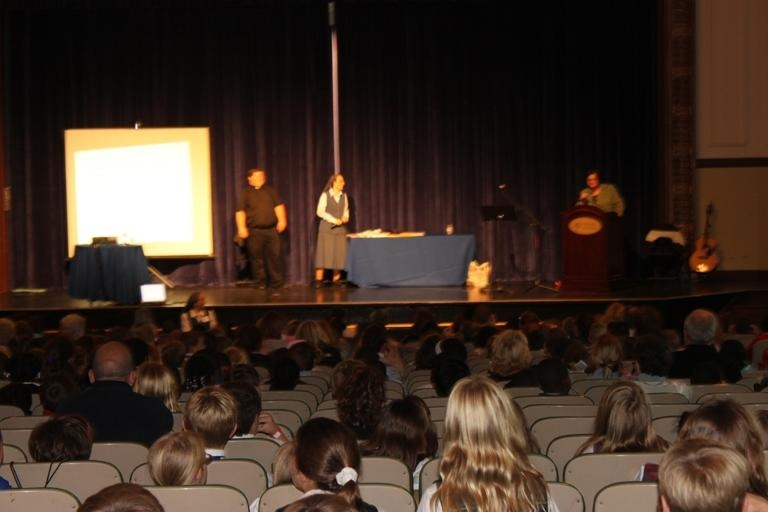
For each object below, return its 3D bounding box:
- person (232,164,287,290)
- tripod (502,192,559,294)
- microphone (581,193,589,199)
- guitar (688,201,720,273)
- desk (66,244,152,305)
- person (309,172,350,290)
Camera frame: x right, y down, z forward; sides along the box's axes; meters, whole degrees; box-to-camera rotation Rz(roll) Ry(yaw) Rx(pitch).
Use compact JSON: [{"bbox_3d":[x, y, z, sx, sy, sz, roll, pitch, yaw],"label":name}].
[{"bbox_3d":[-1.960,-0.439,11.445,0.752,1.875,0.620,-1,2,-11],"label":"person"},{"bbox_3d":[2.414,-0.395,11.958,0.909,1.690,1.538,0,2,12],"label":"tripod"},{"bbox_3d":[2.919,-0.878,10.417,0.155,0.050,0.160,-2,7,-2],"label":"microphone"},{"bbox_3d":[5.098,-0.297,11.452,0.357,1.132,0.766,1,3,44],"label":"guitar"},{"bbox_3d":[-3.790,0.221,9.982,1.086,0.775,0.553,1,8,-1],"label":"desk"},{"bbox_3d":[-0.840,-0.434,11.511,0.533,1.779,0.954,-1,2,-5],"label":"person"}]
